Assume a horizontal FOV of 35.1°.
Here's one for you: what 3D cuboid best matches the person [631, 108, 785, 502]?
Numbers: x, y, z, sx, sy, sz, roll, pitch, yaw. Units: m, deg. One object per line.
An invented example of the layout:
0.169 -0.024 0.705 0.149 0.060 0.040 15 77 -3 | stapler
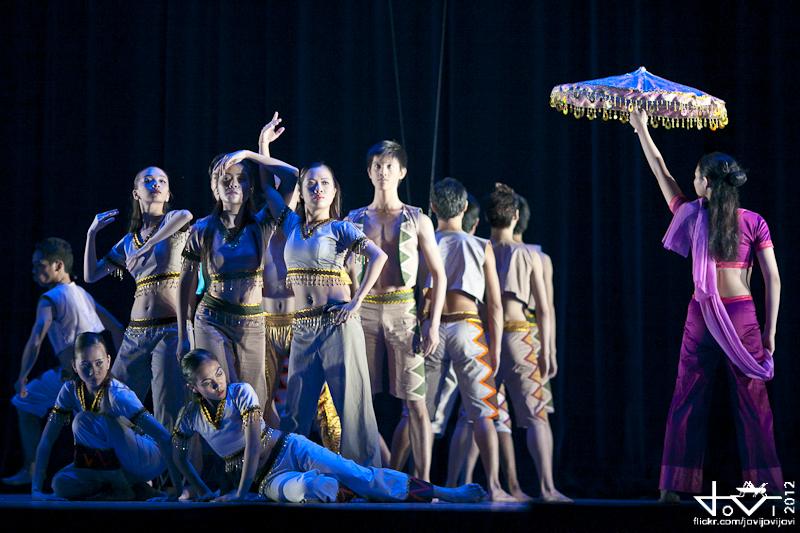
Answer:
2.033 0.234 8.182 0.807 2.510 0.495 -3 -14 17 | person
